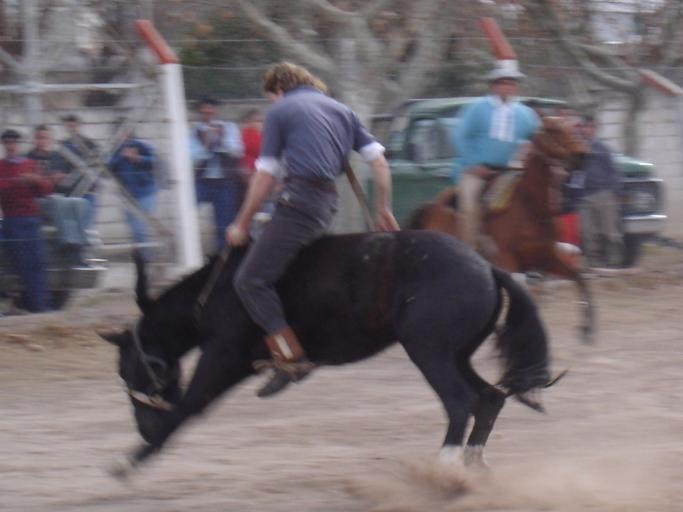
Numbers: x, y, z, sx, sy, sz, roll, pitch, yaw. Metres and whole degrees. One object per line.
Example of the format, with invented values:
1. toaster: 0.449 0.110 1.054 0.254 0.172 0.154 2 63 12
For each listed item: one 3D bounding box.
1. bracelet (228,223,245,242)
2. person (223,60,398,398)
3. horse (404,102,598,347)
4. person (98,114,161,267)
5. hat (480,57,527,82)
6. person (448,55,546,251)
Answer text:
1. bracelet: -0.718 -0.138 9.142 0.138 0.090 0.056 -26 -8 37
2. person: -0.216 -0.063 9.191 1.091 2.015 0.514 -3 14 -11
3. horse: 1.521 -0.348 12.567 0.943 1.739 2.591 -8 13 -27
4. person: -1.919 -0.575 12.194 0.871 1.259 0.329 6 13 24
5. hat: 1.439 -1.602 11.900 0.317 0.124 0.299 -5 7 -34
6. person: 1.335 -0.835 11.909 0.696 1.540 0.317 1 14 5
